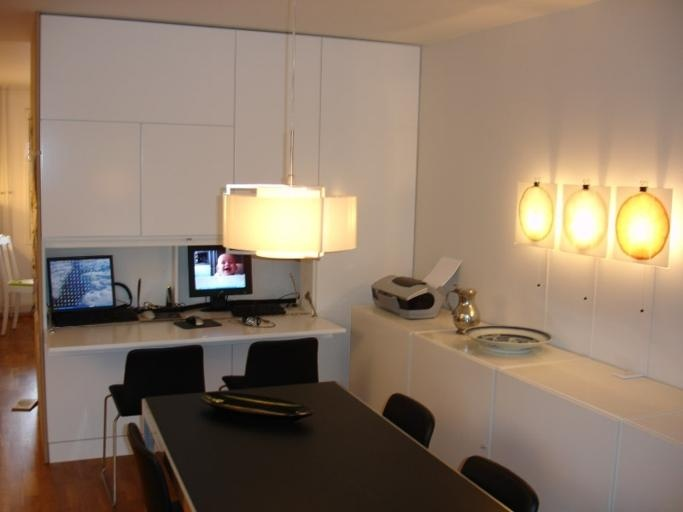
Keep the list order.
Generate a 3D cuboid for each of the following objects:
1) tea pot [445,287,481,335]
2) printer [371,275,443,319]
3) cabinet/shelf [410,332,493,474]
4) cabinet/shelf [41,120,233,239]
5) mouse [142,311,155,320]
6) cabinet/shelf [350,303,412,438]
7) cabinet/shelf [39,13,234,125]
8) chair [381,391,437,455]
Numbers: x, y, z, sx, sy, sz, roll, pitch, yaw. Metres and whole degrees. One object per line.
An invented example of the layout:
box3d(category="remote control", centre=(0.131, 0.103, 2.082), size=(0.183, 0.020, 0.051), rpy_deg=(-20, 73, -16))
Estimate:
box3d(category="tea pot", centre=(0.838, 0.384, 3.672), size=(0.167, 0.311, 0.242), rpy_deg=(7, 13, 25))
box3d(category="printer", centre=(0.482, 0.315, 4.196), size=(0.328, 0.293, 0.539), rpy_deg=(-9, 16, -41))
box3d(category="cabinet/shelf", centre=(0.662, 0.873, 3.165), size=(0.241, 0.800, 0.781), rpy_deg=(1, -1, -23))
box3d(category="cabinet/shelf", centre=(-1.474, -0.513, 4.096), size=(1.323, 0.891, 0.437), rpy_deg=(-2, -5, -9))
box3d(category="mouse", centre=(-1.449, 0.444, 4.084), size=(0.051, 0.033, 0.095), rpy_deg=(0, 8, -23))
box3d(category="cabinet/shelf", centre=(0.286, 0.763, 3.672), size=(0.246, 0.758, 0.791), rpy_deg=(1, -1, -17))
box3d(category="cabinet/shelf", centre=(-1.480, -1.290, 3.836), size=(1.273, 0.712, 0.646), rpy_deg=(-1, 6, -15))
box3d(category="chair", centre=(0.352, 0.834, 2.823), size=(0.276, 0.354, 0.234), rpy_deg=(9, 0, -45))
